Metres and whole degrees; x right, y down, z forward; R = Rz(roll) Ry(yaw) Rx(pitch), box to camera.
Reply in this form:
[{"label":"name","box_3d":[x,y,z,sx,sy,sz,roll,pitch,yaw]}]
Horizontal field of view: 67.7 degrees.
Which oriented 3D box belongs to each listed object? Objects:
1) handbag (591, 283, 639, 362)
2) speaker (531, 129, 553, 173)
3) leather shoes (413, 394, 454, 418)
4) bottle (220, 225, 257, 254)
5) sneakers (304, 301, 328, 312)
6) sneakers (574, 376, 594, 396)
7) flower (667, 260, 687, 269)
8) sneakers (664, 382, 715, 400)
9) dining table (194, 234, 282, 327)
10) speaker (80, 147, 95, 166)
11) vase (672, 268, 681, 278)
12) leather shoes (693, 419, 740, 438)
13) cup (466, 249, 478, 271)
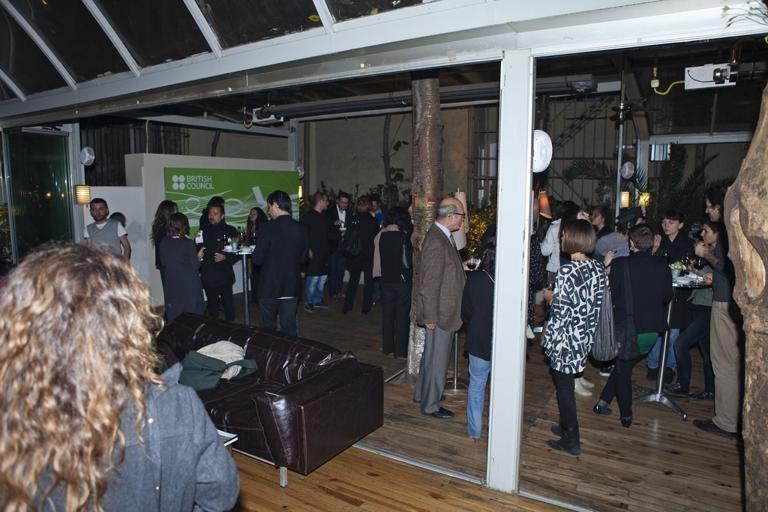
[{"label":"handbag","box_3d":[2.239,0.665,5.513,0.557,0.789,0.266,-12,18,-40]},{"label":"speaker","box_3d":[1.490,-0.961,5.352,0.144,0.433,0.757,4,15,17]},{"label":"leather shoes","box_3d":[0.576,1.664,6.142,0.341,0.156,0.121,-4,5,17]},{"label":"bottle","box_3d":[-2.012,-0.208,8.101,0.388,0.193,0.549,2,7,12]},{"label":"sneakers","box_3d":[-1.197,0.925,10.206,0.442,0.190,0.157,-1,8,-16]},{"label":"sneakers","box_3d":[2.346,1.523,6.680,0.207,0.143,0.321,5,15,22]},{"label":"flower","box_3d":[3.316,0.118,6.480,0.189,0.116,0.267,0,6,12]},{"label":"sneakers","box_3d":[3.452,1.560,6.524,0.524,0.224,0.186,-3,4,16]},{"label":"dining table","box_3d":[-2.066,0.384,8.724,1.000,1.784,1.068,0,6,16]},{"label":"speaker","box_3d":[-4.594,-1.545,8.921,0.197,0.282,0.368,-8,16,-29]},{"label":"vase","box_3d":[3.211,0.196,6.299,0.110,0.121,0.111,-2,-2,40]},{"label":"leather shoes","box_3d":[3.354,1.746,5.806,0.350,0.137,0.126,14,13,42]},{"label":"cup","box_3d":[1.098,0.059,7.060,0.076,0.243,0.163,16,-3,-30]}]
